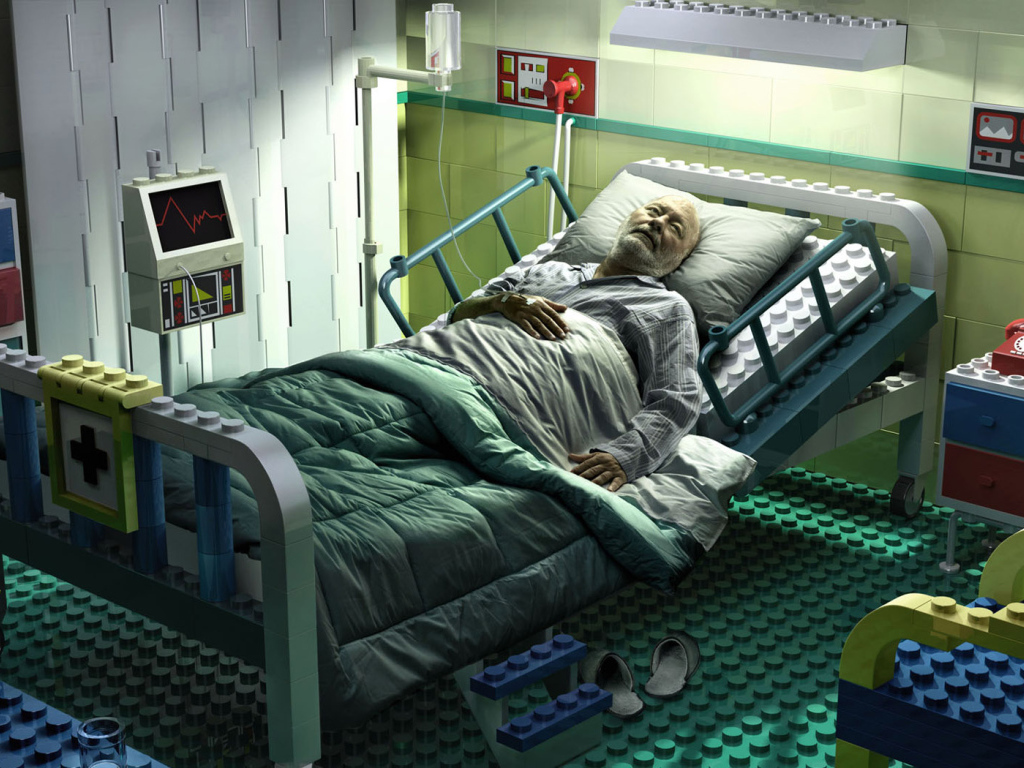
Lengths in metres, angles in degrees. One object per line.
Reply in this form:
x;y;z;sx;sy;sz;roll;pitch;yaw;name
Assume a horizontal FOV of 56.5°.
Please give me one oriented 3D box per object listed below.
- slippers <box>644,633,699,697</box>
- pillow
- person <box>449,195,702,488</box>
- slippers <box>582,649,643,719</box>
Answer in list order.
0.504;0.894;3.009;0.140;0.097;0.236;9;21;26;slippers
0.846;-0.598;3.996;0.960;0.210;0.735;26;60;35;pillow
0.242;-0.252;3.890;1.041;0.518;1.629;7;38;19;person
0.312;0.905;2.872;0.094;0.081;0.270;-9;30;-11;slippers
